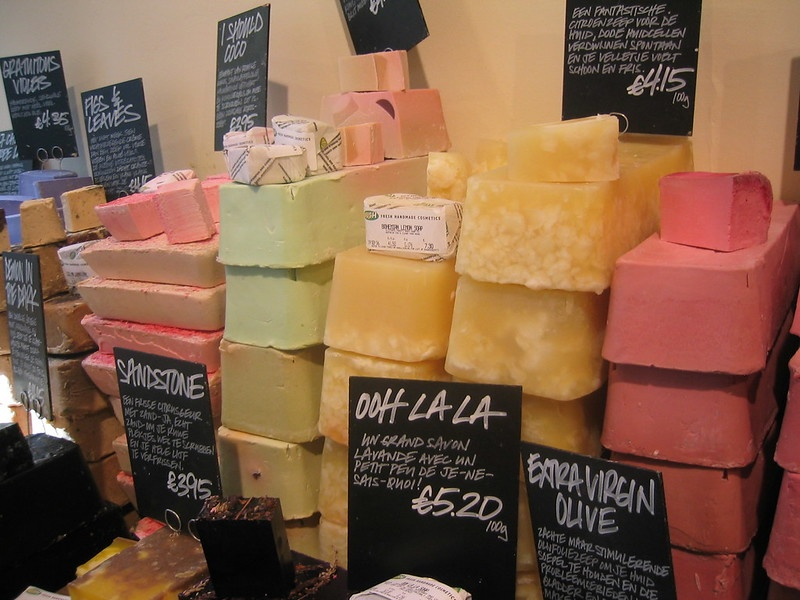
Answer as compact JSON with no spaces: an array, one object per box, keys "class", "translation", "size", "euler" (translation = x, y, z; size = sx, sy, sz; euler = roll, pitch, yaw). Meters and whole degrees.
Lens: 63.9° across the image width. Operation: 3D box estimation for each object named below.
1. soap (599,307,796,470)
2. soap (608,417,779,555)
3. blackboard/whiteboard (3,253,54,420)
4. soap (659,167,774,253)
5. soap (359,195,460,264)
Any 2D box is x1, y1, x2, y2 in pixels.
[{"class":"soap","translation":[0.747,0.193,1.682],"size":[0.281,0.202,0.398],"euler":[7,13,37]},{"class":"soap","translation":[0.785,0.480,1.705],"size":[0.304,0.239,0.312],"euler":[2,4,32]},{"class":"blackboard/whiteboard","translation":[-1.578,0.125,2.731],"size":[0.083,0.793,0.671],"euler":[-5,11,-39]},{"class":"soap","translation":[0.850,-0.247,1.732],"size":[0.194,0.185,0.256],"euler":[-12,16,-33]},{"class":"soap","translation":[0.040,-0.222,1.950],"size":[0.286,0.177,0.155],"euler":[6,17,27]}]
